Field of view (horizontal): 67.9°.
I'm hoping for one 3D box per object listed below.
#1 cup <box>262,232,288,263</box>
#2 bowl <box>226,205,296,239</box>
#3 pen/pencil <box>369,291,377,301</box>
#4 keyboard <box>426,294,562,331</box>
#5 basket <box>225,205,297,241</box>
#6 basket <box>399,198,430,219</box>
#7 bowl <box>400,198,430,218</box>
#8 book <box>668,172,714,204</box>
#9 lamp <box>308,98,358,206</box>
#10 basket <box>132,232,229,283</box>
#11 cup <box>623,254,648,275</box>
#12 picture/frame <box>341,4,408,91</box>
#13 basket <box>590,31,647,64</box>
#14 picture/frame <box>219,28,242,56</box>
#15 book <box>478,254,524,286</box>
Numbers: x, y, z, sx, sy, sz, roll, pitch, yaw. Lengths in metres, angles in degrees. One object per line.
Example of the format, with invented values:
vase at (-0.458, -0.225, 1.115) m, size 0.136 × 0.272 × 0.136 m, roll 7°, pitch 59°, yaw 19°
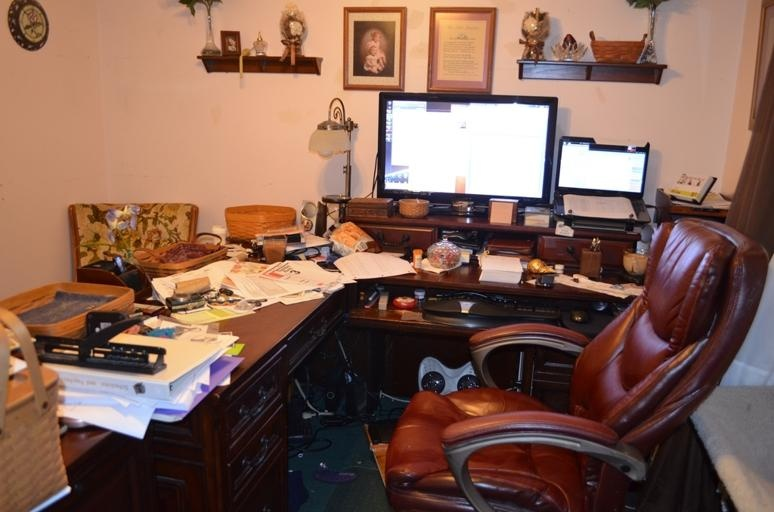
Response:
cup at (-0.549, -0.054, 2.976) m, size 0.159 × 0.186 × 0.135 m, roll 0°, pitch 2°, yaw -4°
bowl at (-0.738, -0.210, 3.346) m, size 0.334 × 0.122 × 0.254 m, roll 1°, pitch 10°, yaw -4°
pen/pencil at (-0.074, 0.213, 3.075) m, size 0.021 × 0.018 × 0.077 m, roll 34°, pitch 35°, yaw 6°
keyboard at (0.464, 0.271, 2.801) m, size 0.443 × 0.074 × 0.237 m, roll 0°, pitch 9°, yaw 8°
basket at (-0.743, -0.208, 3.343) m, size 0.335 × 0.117 × 0.265 m, roll 1°, pitch 10°, yaw 0°
basket at (0.150, -0.266, 3.168) m, size 0.122 × 0.068 × 0.126 m, roll -3°, pitch 6°, yaw -33°
bowl at (0.154, -0.271, 3.178) m, size 0.118 × 0.066 × 0.125 m, roll 0°, pitch 6°, yaw 0°
book at (1.655, -0.374, 3.111) m, size 0.185 × 0.082 × 0.235 m, roll 12°, pitch 27°, yaw 29°
lamp at (-0.302, -0.634, 3.338) m, size 0.269 × 0.583 × 0.382 m, roll -1°, pitch 15°, yaw -4°
basket at (-0.995, 0.006, 2.842) m, size 0.273 × 0.119 × 0.372 m, roll 9°, pitch 15°, yaw 30°
cup at (1.253, 0.032, 2.924) m, size 0.132 × 0.109 × 0.140 m, roll 1°, pitch 1°, yaw 0°
picture/frame at (-0.059, -1.249, 3.337) m, size 0.523 × 0.553 × 0.044 m, roll 1°, pitch 8°, yaw 6°
basket at (1.230, -1.116, 3.064) m, size 0.266 × 0.115 × 0.170 m, roll 7°, pitch 19°, yaw 25°
picture/frame at (-0.933, -1.287, 3.432) m, size 0.116 × 0.149 × 0.089 m, roll -3°, pitch 15°, yaw -10°
book at (0.570, 0.064, 2.886) m, size 0.168 × 0.053 × 0.165 m, roll 4°, pitch 19°, yaw 7°
